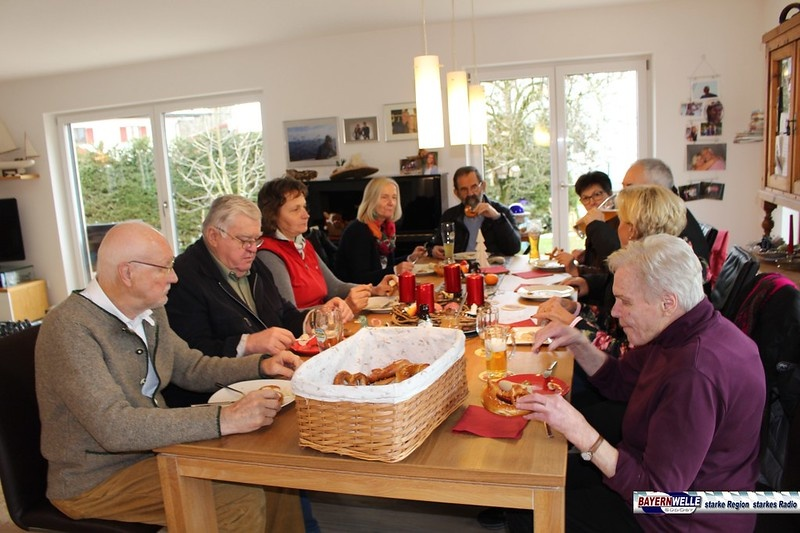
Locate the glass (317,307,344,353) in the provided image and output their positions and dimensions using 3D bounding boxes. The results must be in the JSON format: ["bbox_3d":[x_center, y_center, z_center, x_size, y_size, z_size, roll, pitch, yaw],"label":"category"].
[{"bbox_3d":[-0.289,0.268,2.187,0.122,0.192,0.123,3,10,18],"label":"glass"}]

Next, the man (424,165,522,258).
[{"bbox_3d":[0.673,-0.473,4.624,0.677,0.764,0.427,-3,11,11],"label":"man"}]

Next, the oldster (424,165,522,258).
[{"bbox_3d":[0.672,-0.474,4.629,0.679,0.764,0.440,-2,11,13],"label":"oldster"}]

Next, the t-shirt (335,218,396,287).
[{"bbox_3d":[-0.233,-0.122,4.154,0.476,0.469,0.480,1,10,15],"label":"t-shirt"}]

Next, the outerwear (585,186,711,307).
[{"bbox_3d":[1.201,-0.118,2.725,0.398,0.578,0.514,1,2,-45],"label":"outerwear"}]

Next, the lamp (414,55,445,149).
[{"bbox_3d":[0.152,-0.889,2.875,0.136,0.490,0.200,-4,11,2],"label":"lamp"}]

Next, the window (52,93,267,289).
[{"bbox_3d":[-3.036,-1.131,6.979,2.615,2.696,0.189,-6,-33,-20],"label":"window"}]

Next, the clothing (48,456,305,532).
[{"bbox_3d":[-0.875,0.831,1.958,0.500,0.114,0.339,3,-1,10],"label":"clothing"}]

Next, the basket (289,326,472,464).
[{"bbox_3d":[-0.050,0.411,1.860,0.453,0.246,0.623,0,8,18],"label":"basket"}]

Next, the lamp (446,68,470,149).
[{"bbox_3d":[0.354,-0.949,3.231,0.192,0.451,0.196,-3,-32,7],"label":"lamp"}]

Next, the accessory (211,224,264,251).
[{"bbox_3d":[-0.779,-0.165,2.601,0.130,0.038,0.128,40,18,12],"label":"accessory"}]

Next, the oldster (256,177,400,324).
[{"bbox_3d":[-0.478,-0.039,3.258,0.910,0.932,0.715,-1,11,-12],"label":"oldster"}]

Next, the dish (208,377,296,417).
[{"bbox_3d":[-0.566,0.467,2.035,0.212,0.032,0.220,-3,15,-18],"label":"dish"}]

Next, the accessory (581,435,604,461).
[{"bbox_3d":[0.617,0.595,1.753,0.040,0.078,0.073,37,-11,6],"label":"accessory"}]

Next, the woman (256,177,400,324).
[{"bbox_3d":[-0.474,-0.040,3.272,0.930,0.930,0.644,1,8,-4],"label":"woman"}]

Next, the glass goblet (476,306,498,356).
[{"bbox_3d":[0.358,0.271,2.245,0.118,0.191,0.105,4,-1,-31],"label":"glass goblet"}]

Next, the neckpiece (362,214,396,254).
[{"bbox_3d":[-0.161,-0.259,4.255,0.217,0.111,0.274,6,-19,29],"label":"neckpiece"}]

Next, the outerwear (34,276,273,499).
[{"bbox_3d":[-0.860,0.428,2.151,0.849,0.718,0.791,-2,10,8],"label":"outerwear"}]

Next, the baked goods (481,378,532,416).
[{"bbox_3d":[0.347,0.434,1.843,0.115,0.035,0.116,-1,13,-7],"label":"baked goods"}]

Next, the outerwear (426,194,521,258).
[{"bbox_3d":[0.710,-0.206,4.740,0.808,0.647,0.498,1,-8,33],"label":"outerwear"}]
